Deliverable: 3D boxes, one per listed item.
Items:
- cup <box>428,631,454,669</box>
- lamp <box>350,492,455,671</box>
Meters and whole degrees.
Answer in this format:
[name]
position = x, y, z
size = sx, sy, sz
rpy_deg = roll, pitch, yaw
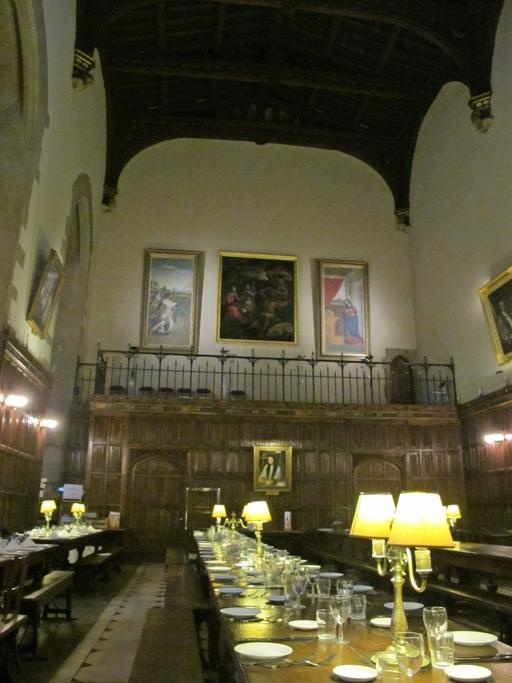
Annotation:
[cup]
position = 0.487, 0.808, 1.210
size = 0.040, 0.098, 0.117
rpy_deg = -1, -15, 5
[lamp]
position = 0.470, 0.777, 1.522
size = 0.185, 0.502, 0.491
rpy_deg = 7, -18, -12
